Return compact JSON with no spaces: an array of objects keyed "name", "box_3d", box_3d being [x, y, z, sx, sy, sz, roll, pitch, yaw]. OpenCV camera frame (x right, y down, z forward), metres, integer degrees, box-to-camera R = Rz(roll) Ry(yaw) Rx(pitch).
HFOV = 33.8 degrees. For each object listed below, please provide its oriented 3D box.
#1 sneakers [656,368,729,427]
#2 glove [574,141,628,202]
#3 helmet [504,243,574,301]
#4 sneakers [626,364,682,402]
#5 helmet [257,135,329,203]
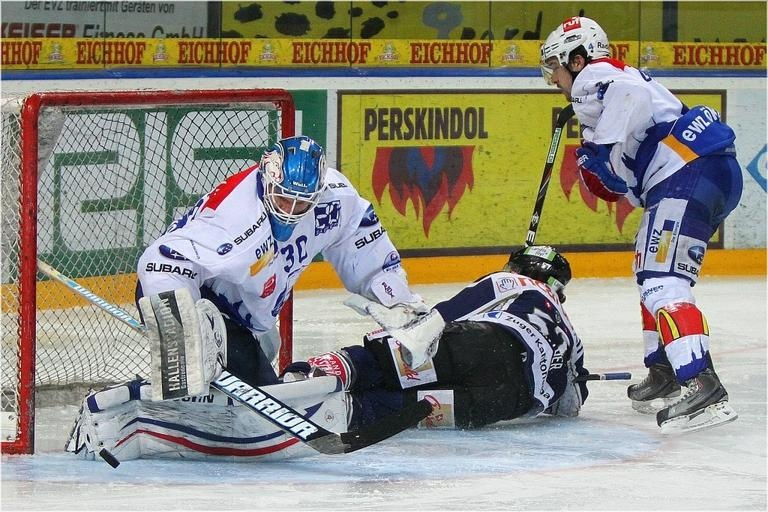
[{"name":"sneakers","box_3d":[1.537,0.725,6.353,0.433,0.287,0.148,-12,7,-10]},{"name":"glove","box_3d":[1.170,-0.450,6.816,0.255,0.307,0.111,-46,3,0]},{"name":"helmet","box_3d":[0.841,0.062,6.859,0.336,0.279,0.284,25,6,9]},{"name":"sneakers","box_3d":[1.477,0.700,6.888,0.331,0.211,0.116,-8,-8,38]},{"name":"helmet","box_3d":[-0.448,-0.405,6.023,0.268,0.279,0.329,12,43,-22]}]
